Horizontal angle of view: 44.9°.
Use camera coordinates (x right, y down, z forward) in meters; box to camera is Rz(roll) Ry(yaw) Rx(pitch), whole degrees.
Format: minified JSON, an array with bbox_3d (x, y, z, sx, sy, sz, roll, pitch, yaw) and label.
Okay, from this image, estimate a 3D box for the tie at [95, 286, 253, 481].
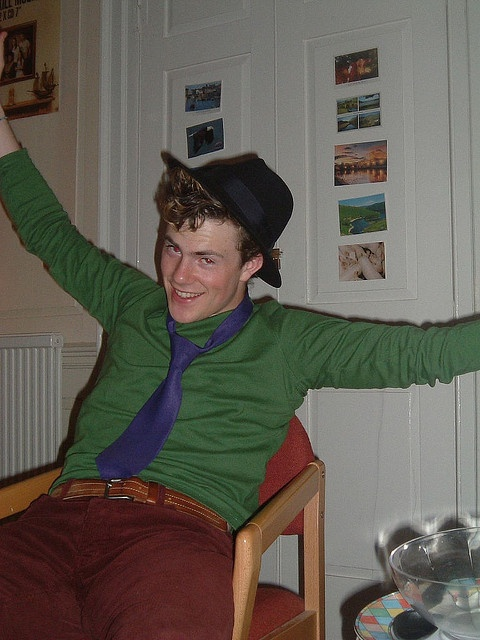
[{"bbox_3d":[-0.140,0.145,1.148,0.144,0.431,0.056,23,-28,2],"label":"tie"}]
